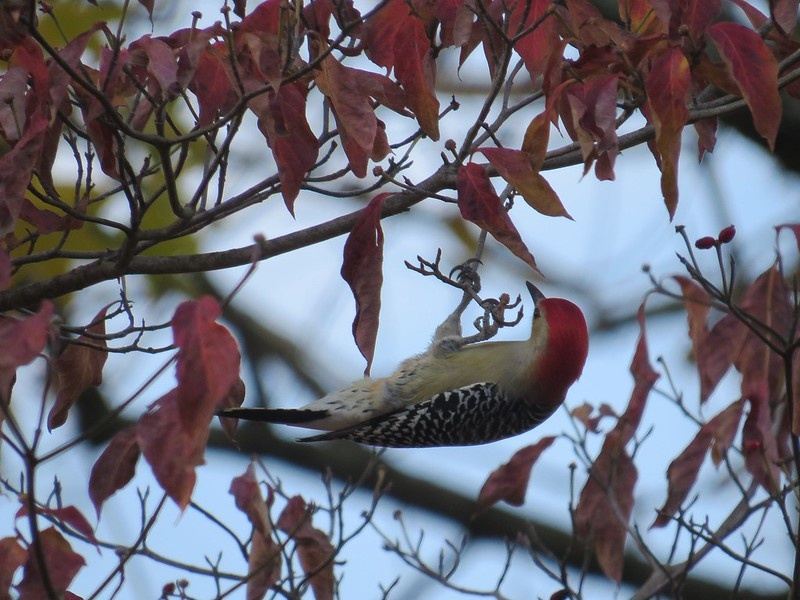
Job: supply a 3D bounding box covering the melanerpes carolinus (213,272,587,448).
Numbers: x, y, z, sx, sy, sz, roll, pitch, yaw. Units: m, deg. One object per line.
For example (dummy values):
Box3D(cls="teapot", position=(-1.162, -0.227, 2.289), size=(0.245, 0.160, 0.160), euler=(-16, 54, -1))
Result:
Box3D(cls="melanerpes carolinus", position=(0.070, 0.502, 11.022), size=(1.279, 0.822, 0.505), euler=(-16, -41, -3))
